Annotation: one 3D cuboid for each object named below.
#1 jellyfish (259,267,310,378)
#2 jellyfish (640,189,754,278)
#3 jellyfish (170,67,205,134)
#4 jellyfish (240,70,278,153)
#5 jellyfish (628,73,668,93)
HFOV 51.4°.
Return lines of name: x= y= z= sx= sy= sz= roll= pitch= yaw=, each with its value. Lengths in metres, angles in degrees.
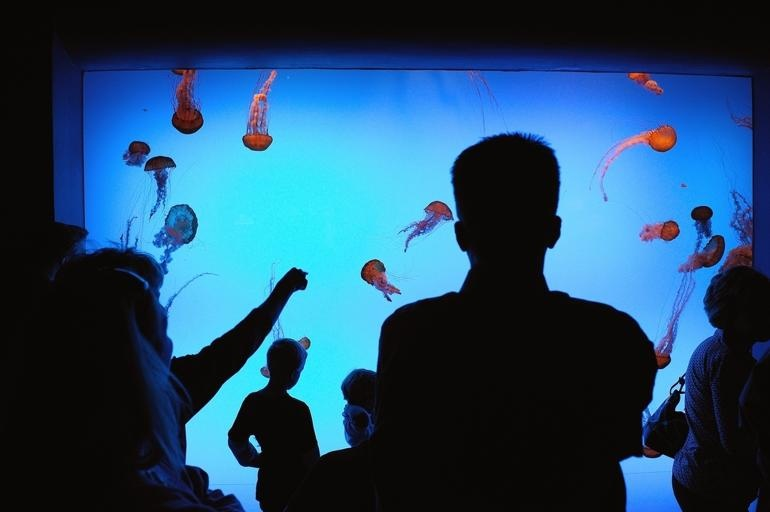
jellyfish: x=-0.466 y=0.307 z=3.730 sx=0.184 sy=0.543 sz=0.193 roll=-1 pitch=14 yaw=-18
jellyfish: x=1.496 y=-0.107 z=3.796 sx=0.238 sy=0.417 sz=0.467 roll=0 pitch=12 yaw=-27
jellyfish: x=-0.910 y=-0.714 z=3.715 sx=0.145 sy=0.301 sz=0.027 roll=0 pitch=-5 yaw=6
jellyfish: x=-0.575 y=-0.669 z=3.706 sx=0.154 sy=0.374 sz=0.151 roll=-2 pitch=17 yaw=-13
jellyfish: x=1.226 y=-0.811 z=3.756 sx=0.067 sy=0.182 sz=0.068 roll=-42 pitch=-11 yaw=-40
